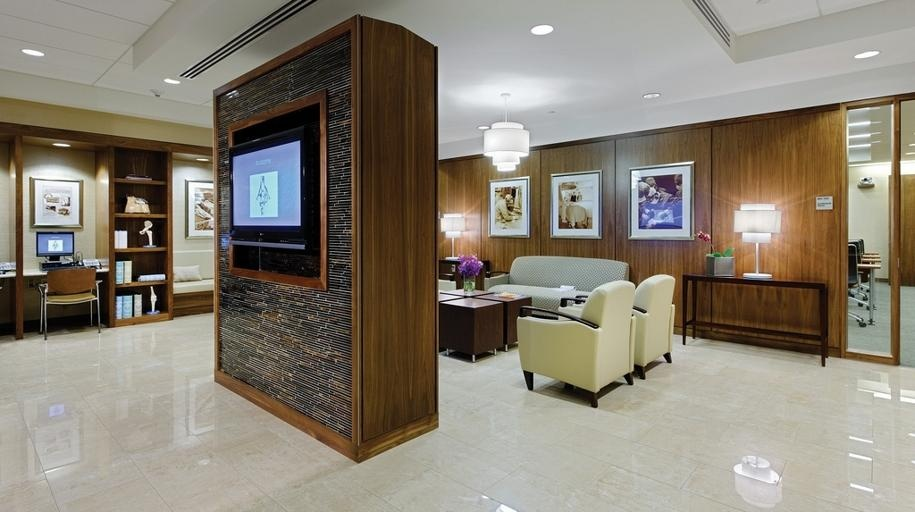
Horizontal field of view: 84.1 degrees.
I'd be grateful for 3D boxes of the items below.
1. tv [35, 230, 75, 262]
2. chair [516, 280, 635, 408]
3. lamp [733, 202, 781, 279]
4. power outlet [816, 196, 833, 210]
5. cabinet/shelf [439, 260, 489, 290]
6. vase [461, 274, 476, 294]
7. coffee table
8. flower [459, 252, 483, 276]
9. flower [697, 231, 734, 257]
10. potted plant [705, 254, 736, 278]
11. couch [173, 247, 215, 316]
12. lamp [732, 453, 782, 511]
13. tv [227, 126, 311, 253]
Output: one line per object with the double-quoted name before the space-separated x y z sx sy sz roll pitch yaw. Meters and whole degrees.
"tv" -7.367 -0.187 9.183 0.628 0.573 0.203 1 -5 -36
"chair" 1.852 1.112 7.542 1.626 1.958 1.735 -1 3 -44
"lamp" 4.879 -0.255 8.145 0.638 1.209 0.508 -1 3 32
"power outlet" 5.776 -0.830 7.884 0.242 0.204 0.032 5 8 34
"cabinet/shelf" 0.184 0.374 9.851 0.681 0.569 0.283 3 4 43
"vase" 0.212 0.493 8.748 0.298 0.419 0.287 0 0 -11
"coffee table" 0.415 1.042 8.102 1.175 0.557 1.159 2 5 37
"flower" 0.246 0.148 8.653 0.422 0.369 0.387 -1 5 1
"flower" 4.331 -0.206 8.437 0.568 0.425 0.433 -1 3 24
"potted plant" 4.327 0.163 8.252 0.409 0.328 0.376 1 2 14
"couch" -5.433 0.532 10.374 0.801 0.887 0.667 -4 3 -29
"lamp" 3.271 2.422 5.524 0.367 0.454 0.495 -8 10 -30
"tv" -2.369 -0.868 6.454 1.947 1.442 0.254 0 0 36
